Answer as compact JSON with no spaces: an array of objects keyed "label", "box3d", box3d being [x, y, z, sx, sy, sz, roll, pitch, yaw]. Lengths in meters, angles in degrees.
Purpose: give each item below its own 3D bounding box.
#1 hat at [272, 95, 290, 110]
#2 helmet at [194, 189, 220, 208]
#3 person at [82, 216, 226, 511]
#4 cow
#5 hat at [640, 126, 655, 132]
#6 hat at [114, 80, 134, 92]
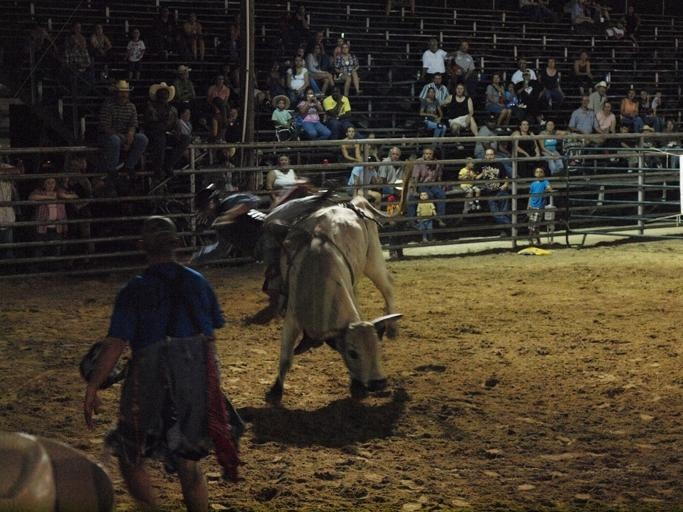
[{"label":"hat","box3d":[-1.260,-3.176,17.546,0.360,0.270,0.375,0,4,-5]},{"label":"helmet","box3d":[-1.414,-0.601,8.858,0.262,0.201,0.166,1,4,6]},{"label":"person","box3d":[-1.386,0.839,6.624,1.095,2.255,0.346,0,5,-14]},{"label":"cow","box3d":[-0.073,0.115,8.535,0.990,1.255,2.651,-4,19,4]},{"label":"hat","box3d":[7.520,-3.133,21.137,0.267,0.091,0.273,0,-1,14]},{"label":"hat","box3d":[-3.452,-2.661,13.389,0.231,0.203,0.488,-1,4,-15]}]
